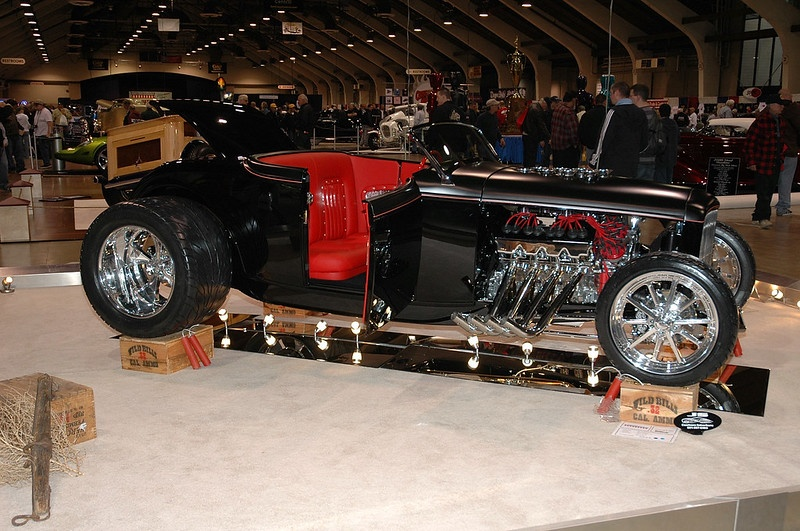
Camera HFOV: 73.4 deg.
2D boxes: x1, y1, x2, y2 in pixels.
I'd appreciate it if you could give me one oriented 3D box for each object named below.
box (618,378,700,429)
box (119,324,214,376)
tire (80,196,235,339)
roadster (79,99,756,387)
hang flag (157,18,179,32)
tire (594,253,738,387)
[{"bbox_3d":[1.562,0.729,3.283,0.450,0.305,0.247,2,8,19],"label":"box"},{"bbox_3d":[-1.902,0.616,4.166,0.334,0.232,0.454,5,16,-7],"label":"box"},{"bbox_3d":[-1.831,0.012,4.105,1.155,1.144,0.503,1,6,22],"label":"tire"},{"bbox_3d":[0.078,-0.199,4.147,4.533,1.637,2.584,3,12,18],"label":"roadster"},{"bbox_3d":[-11.195,-11.804,26.081,1.286,0.608,0.420,8,13,33],"label":"hang flag"},{"bbox_3d":[1.675,0.347,3.430,0.873,0.891,0.324,2,-2,31],"label":"tire"}]
